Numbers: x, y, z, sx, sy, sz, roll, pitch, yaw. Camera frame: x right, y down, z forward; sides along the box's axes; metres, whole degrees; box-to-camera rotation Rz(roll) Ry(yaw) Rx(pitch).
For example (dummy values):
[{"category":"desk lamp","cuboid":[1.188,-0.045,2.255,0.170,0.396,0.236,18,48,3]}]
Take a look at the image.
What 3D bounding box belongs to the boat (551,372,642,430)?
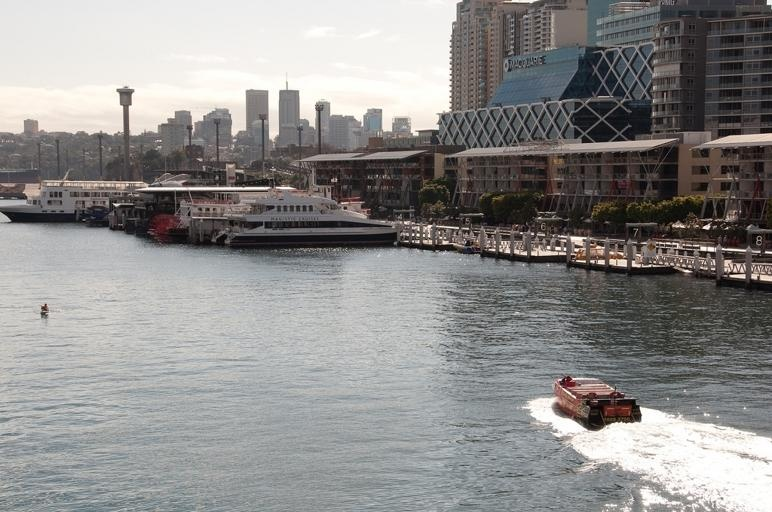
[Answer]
[{"category":"boat","cuboid":[17.416,12.741,104.523,3.637,3.218,7.250,-5,8,-17]}]
